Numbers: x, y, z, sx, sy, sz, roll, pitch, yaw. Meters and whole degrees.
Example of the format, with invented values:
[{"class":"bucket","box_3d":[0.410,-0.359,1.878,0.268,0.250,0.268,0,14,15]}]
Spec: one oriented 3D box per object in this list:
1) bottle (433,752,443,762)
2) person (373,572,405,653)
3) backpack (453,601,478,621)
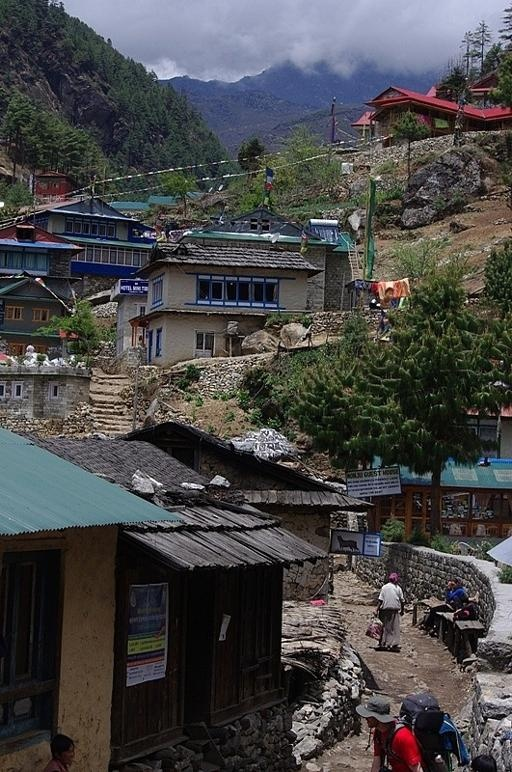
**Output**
[{"class":"bottle","box_3d":[1.385,2.830,6.264,0.043,0.061,0.018,-3,-9,-1]},{"class":"person","box_3d":[2.876,5.007,17.837,0.550,1.586,0.452,1,0,8]},{"class":"backpack","box_3d":[4.247,4.501,16.554,0.434,0.427,0.193,-8,42,-48]}]
